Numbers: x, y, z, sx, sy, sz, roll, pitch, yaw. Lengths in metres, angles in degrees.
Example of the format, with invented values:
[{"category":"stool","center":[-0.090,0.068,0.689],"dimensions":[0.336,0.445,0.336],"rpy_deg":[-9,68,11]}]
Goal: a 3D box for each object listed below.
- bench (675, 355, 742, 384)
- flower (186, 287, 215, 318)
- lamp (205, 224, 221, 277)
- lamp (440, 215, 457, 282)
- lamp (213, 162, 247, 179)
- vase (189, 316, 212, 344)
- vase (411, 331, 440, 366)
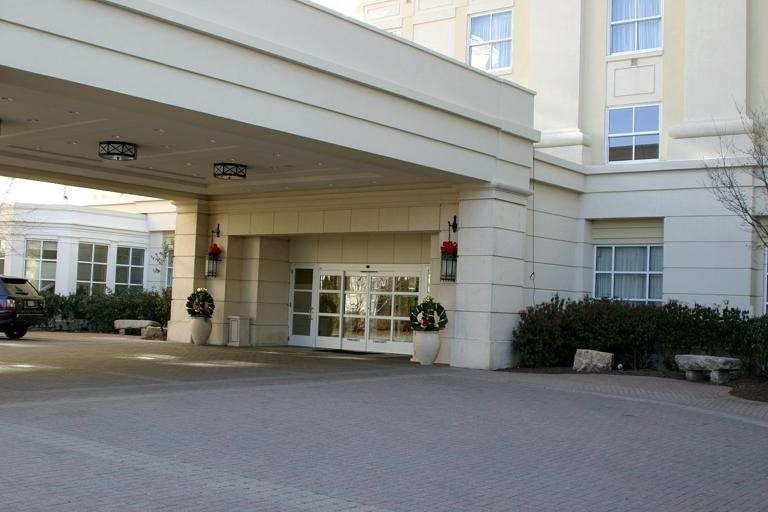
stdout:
[{"category":"bench","center":[8.637,2.985,17.056],"dimensions":[0.787,0.691,1.355],"rpy_deg":[7,-7,-44]},{"category":"flower","center":[-6.709,1.703,23.283],"dimensions":[0.992,1.051,0.614],"rpy_deg":[4,-5,-16]},{"category":"lamp","center":[-6.364,-0.225,23.653],"dimensions":[0.701,2.008,0.347],"rpy_deg":[-1,-6,35]},{"category":"lamp","center":[1.917,-0.249,18.831],"dimensions":[0.476,1.974,0.624],"rpy_deg":[2,-5,3]},{"category":"lamp","center":[-4.497,-2.477,18.589],"dimensions":[0.972,0.359,0.957],"rpy_deg":[3,-5,-13]},{"category":"vase","center":[-6.539,2.673,23.377],"dimensions":[0.913,1.006,0.918],"rpy_deg":[1,4,-6]},{"category":"vase","center":[1.227,2.673,18.855],"dimensions":[0.909,0.916,0.927],"rpy_deg":[2,0,-1]}]
